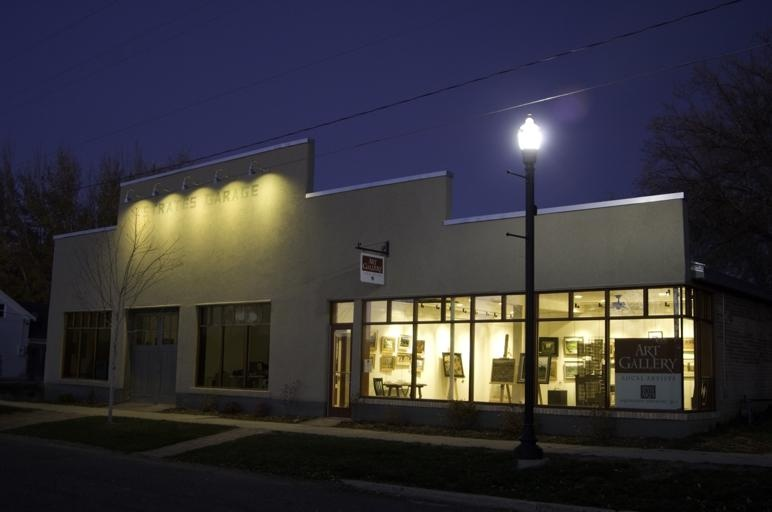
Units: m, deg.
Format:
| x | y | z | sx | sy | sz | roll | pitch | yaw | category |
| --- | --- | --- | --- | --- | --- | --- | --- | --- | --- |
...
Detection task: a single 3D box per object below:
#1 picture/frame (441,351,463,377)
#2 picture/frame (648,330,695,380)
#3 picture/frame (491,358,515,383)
| x | y | z | sx | sy | sz | roll | pitch | yaw | category |
| --- | --- | --- | --- | --- | --- | --- | --- | --- | --- |
| 2.252 | 3.619 | 20.961 | 0.813 | 0.988 | 0.101 | -2 | -4 | 25 | picture/frame |
| 8.657 | 2.806 | 18.060 | 1.356 | 1.356 | 0.325 | -1 | -5 | 20 | picture/frame |
| 3.802 | 3.676 | 20.169 | 0.768 | 0.790 | 0.107 | -3 | -12 | 33 | picture/frame |
